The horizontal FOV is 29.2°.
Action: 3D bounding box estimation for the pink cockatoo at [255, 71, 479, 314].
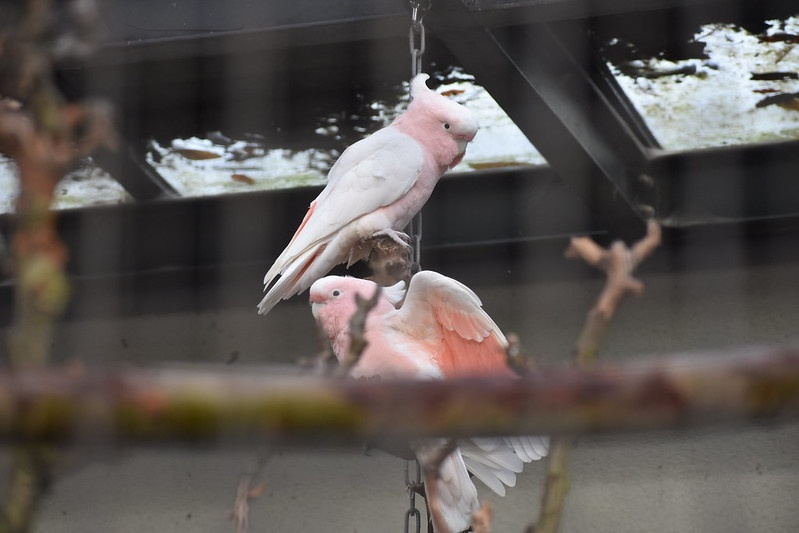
[{"bbox_3d":[-0.064,-0.148,3.035,0.446,0.441,0.154,-3,9,0],"label":"pink cockatoo"}]
